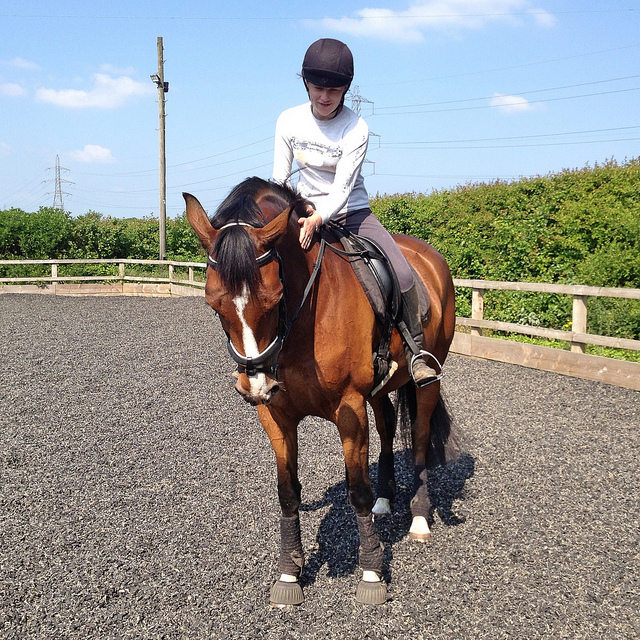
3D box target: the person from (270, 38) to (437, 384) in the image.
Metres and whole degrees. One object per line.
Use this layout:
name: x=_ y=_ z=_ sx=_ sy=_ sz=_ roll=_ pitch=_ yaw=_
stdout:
person: x=0.072 y=-0.570 z=3.434 sx=0.644 sy=2.142 sz=0.980 roll=-5 pitch=12 yaw=0

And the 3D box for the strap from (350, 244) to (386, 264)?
strap: x=0.273 y=-0.391 z=3.529 sx=0.211 sy=0.036 sz=0.044 roll=25 pitch=20 yaw=-19

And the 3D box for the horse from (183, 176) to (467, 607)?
horse: x=0.315 y=0.430 z=3.949 sx=0.677 sy=2.258 sz=2.960 roll=-6 pitch=0 yaw=28

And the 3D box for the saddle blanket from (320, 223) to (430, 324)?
saddle blanket: x=0.240 y=-0.355 z=3.740 sx=0.466 sy=0.770 sz=0.742 roll=23 pitch=22 yaw=38

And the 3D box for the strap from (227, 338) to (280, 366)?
strap: x=-0.324 y=0.140 z=2.777 sx=0.257 sy=0.111 sz=0.188 roll=0 pitch=11 yaw=1

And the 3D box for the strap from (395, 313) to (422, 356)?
strap: x=0.533 y=0.087 z=3.656 sx=0.036 sy=0.266 sz=0.045 roll=-29 pitch=-4 yaw=-8
